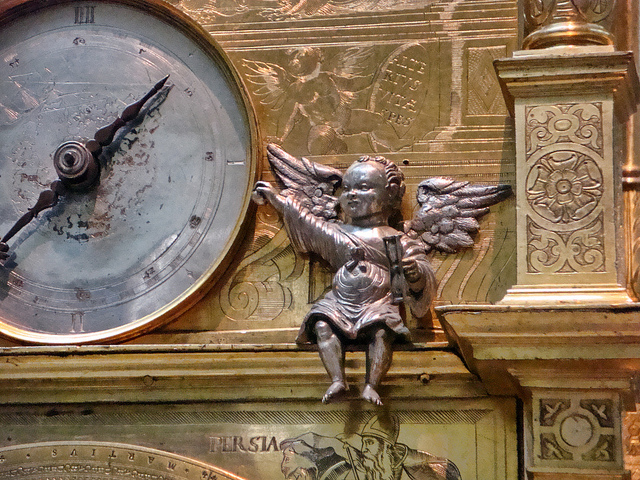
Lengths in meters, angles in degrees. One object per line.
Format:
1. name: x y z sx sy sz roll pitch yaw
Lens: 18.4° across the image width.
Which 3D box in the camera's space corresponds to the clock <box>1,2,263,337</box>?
1. clock: -0.715 -0.314 6.994 0.910 1.021 0.841 -13 -49 18
